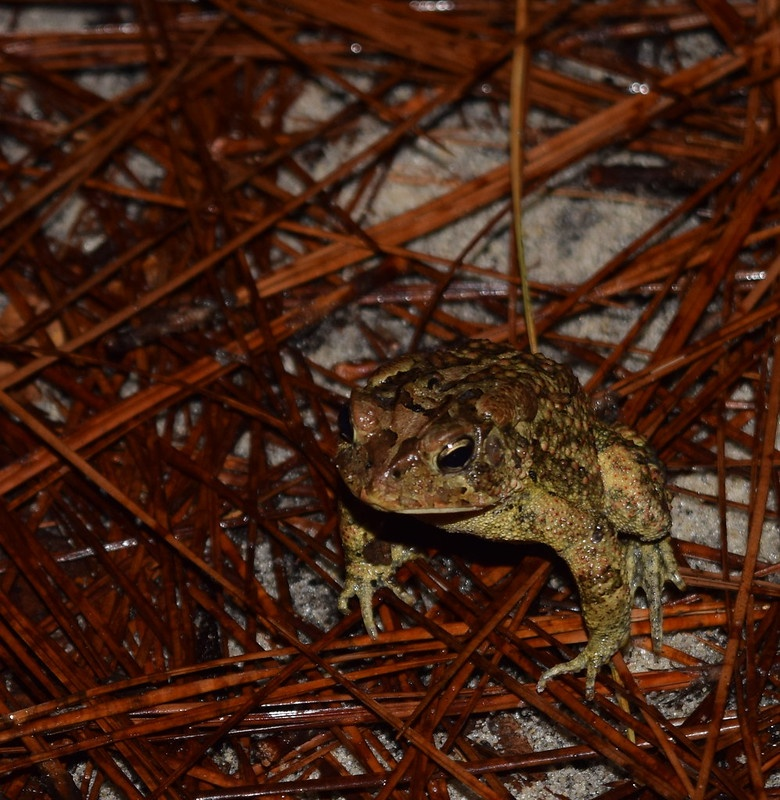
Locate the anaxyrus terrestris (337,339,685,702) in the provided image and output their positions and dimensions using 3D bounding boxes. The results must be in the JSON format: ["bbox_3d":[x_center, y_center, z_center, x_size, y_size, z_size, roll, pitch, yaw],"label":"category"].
[{"bbox_3d":[0.325,0.261,2.815,0.936,0.766,0.869,14,52,15],"label":"anaxyrus terrestris"}]
